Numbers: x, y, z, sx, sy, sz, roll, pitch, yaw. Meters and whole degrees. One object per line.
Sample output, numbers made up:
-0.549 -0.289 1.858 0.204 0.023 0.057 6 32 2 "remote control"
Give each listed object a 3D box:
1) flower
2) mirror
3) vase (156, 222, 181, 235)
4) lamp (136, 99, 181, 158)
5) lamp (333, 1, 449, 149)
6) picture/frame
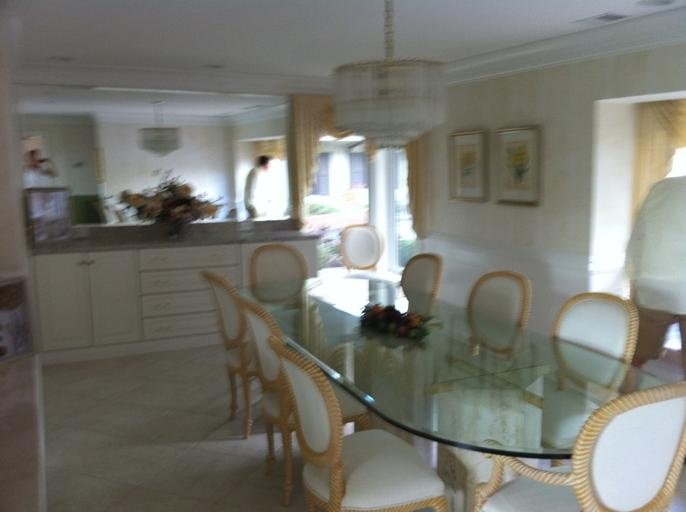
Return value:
-1.022 -0.303 3.108 0.333 0.084 0.330 -9 36 -45 "flower"
-1.012 -0.567 3.078 1.522 0.792 0.457 -11 17 -39 "mirror"
-0.988 -0.155 3.024 0.126 0.071 0.063 -5 14 -20 "vase"
-1.089 -0.752 3.130 0.332 0.346 0.332 -2 8 -17 "lamp"
0.154 -0.595 1.802 0.322 0.424 0.324 -1 6 0 "lamp"
0.942 -0.568 3.230 0.523 0.433 0.059 2 5 31 "picture/frame"
